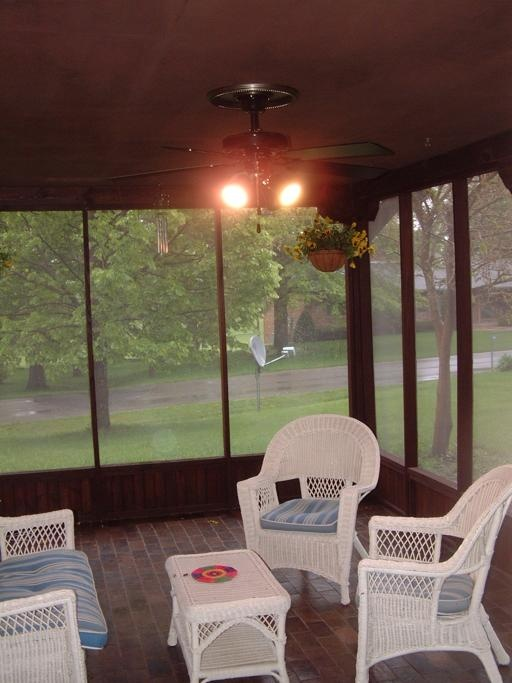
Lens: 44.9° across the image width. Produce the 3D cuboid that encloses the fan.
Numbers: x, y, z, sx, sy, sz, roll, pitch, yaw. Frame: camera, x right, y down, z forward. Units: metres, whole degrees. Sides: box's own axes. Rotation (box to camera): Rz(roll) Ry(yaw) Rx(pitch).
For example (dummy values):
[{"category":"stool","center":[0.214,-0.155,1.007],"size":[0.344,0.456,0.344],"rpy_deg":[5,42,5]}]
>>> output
[{"category":"fan","center":[-0.077,-0.982,3.074],"size":[1.048,0.317,1.188],"rpy_deg":[-3,1,-19]}]

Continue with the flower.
[{"category":"flower","center":[0.509,-0.633,4.297],"size":[0.478,0.286,0.404],"rpy_deg":[6,-5,-19]}]

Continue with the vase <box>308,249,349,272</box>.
[{"category":"vase","center":[0.474,-0.541,4.203],"size":[0.178,0.085,0.166],"rpy_deg":[0,-3,-5]}]
